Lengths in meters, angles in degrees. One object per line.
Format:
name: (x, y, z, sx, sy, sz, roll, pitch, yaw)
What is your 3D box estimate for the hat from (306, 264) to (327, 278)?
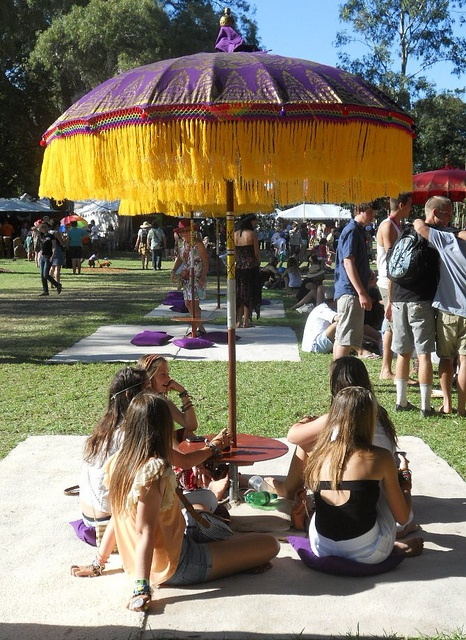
hat: (1.643, -0.907, 13.603, 0.355, 0.123, 0.304, -29, 12, -26)

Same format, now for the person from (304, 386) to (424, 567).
person: (0.639, 0.750, 3.217, 0.479, 0.859, 0.684, 3, 9, 31)

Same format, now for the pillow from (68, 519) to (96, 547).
pillow: (-0.758, 1.068, 3.454, 0.053, 0.123, 0.162, -40, 52, -23)

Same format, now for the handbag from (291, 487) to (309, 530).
handbag: (0.363, 1.022, 3.653, 0.067, 0.170, 0.169, 5, -1, -2)

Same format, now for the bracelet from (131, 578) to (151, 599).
bracelet: (-0.360, 1.061, 2.692, 0.075, 0.070, 0.069, 2, -21, -10)

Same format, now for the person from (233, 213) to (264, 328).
person: (0.309, -0.811, 11.249, 0.524, 1.820, 0.502, 6, 10, 35)

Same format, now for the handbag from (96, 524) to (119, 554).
handbag: (-0.596, 1.045, 3.272, 0.162, 0.067, 0.191, -1, 3, -1)

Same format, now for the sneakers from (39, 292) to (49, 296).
sneakers: (-4.611, -0.630, 16.674, 0.255, 0.102, 0.094, 5, 7, 38)

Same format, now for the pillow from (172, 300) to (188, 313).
pillow: (-1.054, -0.261, 13.600, 0.251, 0.092, 0.287, 7, 15, 16)

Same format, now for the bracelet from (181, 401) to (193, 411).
bracelet: (-0.265, 0.486, 3.898, 0.054, 0.021, 0.054, -39, 9, 8)

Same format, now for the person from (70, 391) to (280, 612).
person: (-0.253, 0.741, 2.966, 0.664, 0.735, 0.879, -4, -5, 41)

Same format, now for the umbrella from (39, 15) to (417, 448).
umbrella: (-0.136, -0.742, 4.142, 2.398, 1.963, 2.284, -7, 9, -8)

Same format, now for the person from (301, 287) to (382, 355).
person: (1.372, -0.018, 9.251, 0.944, 1.195, 0.920, -9, 18, -22)

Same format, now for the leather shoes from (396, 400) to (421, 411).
leather shoes: (1.544, 0.755, 6.033, 0.218, 0.087, 0.076, -1, 7, -30)

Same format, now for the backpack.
backpack: (1.475, -0.522, 5.721, 0.401, 0.484, 0.296, 11, 1, 41)

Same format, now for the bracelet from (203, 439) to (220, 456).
bracelet: (-0.106, 0.654, 3.481, 0.077, 0.034, 0.088, 0, -1, -2)

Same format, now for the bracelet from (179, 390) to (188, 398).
bracelet: (-0.290, 0.426, 3.944, 0.047, 0.040, 0.036, -15, 16, 26)
